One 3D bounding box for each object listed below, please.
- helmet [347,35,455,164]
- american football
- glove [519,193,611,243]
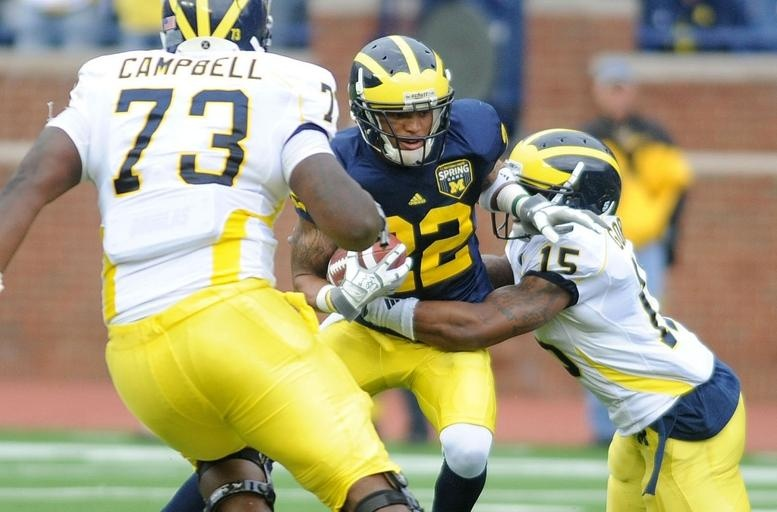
[{"bbox_3d":[0.074,-0.729,5.187,0.478,0.502,0.629,-14,37,-16],"label":"helmet"},{"bbox_3d":[-0.106,-0.007,5.041,0.328,0.239,0.165,-24,76,-3],"label":"american football"},{"bbox_3d":[0.846,-0.215,5.147,0.236,0.147,0.357,21,3,-36],"label":"glove"}]
